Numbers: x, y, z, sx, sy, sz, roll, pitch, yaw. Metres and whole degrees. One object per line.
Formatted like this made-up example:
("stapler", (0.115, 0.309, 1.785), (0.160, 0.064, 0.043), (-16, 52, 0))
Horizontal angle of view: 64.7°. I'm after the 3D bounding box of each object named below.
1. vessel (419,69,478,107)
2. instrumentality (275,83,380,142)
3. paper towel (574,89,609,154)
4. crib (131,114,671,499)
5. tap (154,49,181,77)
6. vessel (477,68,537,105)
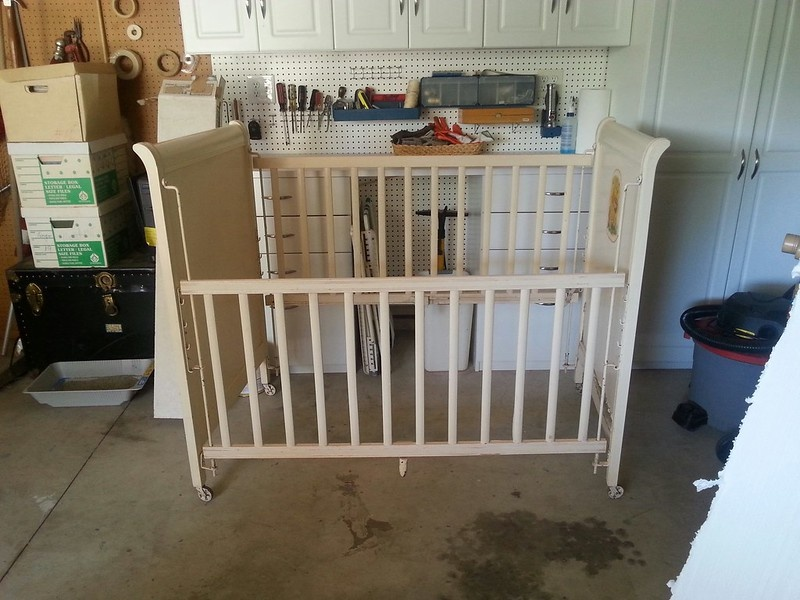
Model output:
("vessel", (0.267, -1.124, 3.396), (0.306, 0.146, 0.075), (-2, 24, -3))
("instrumentality", (-0.515, -1.055, 3.567), (0.429, 0.298, 0.061), (-1, 13, -5))
("paper towel", (1.048, -0.963, 3.375), (0.189, 0.422, 0.042), (5, 64, 20))
("crib", (0.038, -0.124, 3.018), (1.853, 1.439, 1.563), (0, 23, 2))
("tap", (-1.281, -1.327, 3.525), (0.127, 0.122, 0.031), (-4, 11, 13))
("vessel", (0.567, -1.120, 3.390), (0.297, 0.159, 0.070), (1, 24, 5))
